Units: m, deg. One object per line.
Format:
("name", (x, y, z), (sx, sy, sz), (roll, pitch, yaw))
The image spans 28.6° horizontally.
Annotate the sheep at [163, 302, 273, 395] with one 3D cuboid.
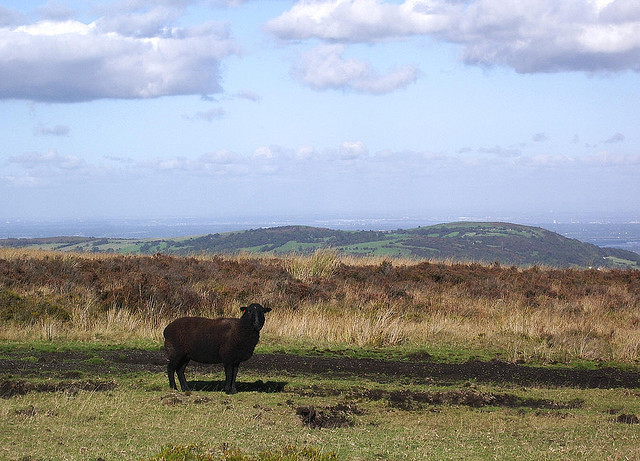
("sheep", (-3.277, 3.990, 41.107), (3.878, 2.965, 1.451), (-1, -3, 23))
